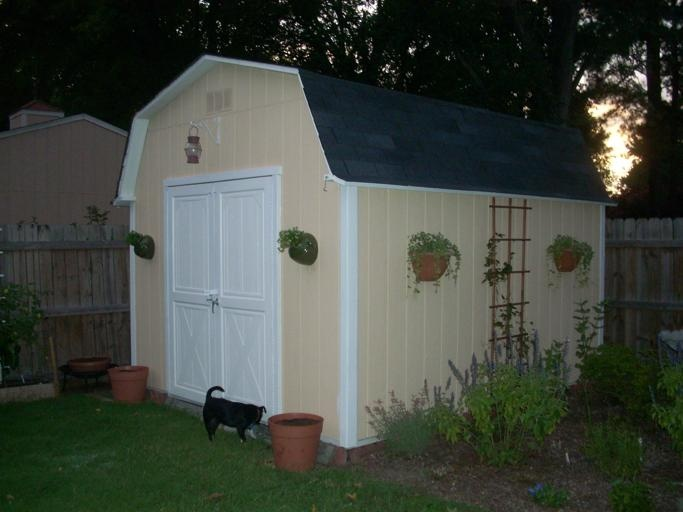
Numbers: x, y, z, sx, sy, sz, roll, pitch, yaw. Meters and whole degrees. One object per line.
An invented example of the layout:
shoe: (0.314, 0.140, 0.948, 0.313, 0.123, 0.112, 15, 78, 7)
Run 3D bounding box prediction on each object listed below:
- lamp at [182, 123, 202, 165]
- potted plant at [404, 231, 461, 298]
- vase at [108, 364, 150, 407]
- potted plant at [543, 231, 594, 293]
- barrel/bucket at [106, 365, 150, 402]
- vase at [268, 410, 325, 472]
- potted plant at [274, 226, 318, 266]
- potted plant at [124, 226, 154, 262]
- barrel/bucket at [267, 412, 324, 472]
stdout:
lamp: (-2.190, -1.648, 9.293, 0.235, 0.607, 0.505, -3, 8, -14)
potted plant: (1.196, 0.135, 8.146, 0.677, 0.801, 0.732, 3, -9, -14)
vase: (-3.366, 2.025, 10.040, 0.618, 0.594, 0.681, -2, 8, -28)
potted plant: (3.606, -0.063, 10.037, 0.504, 0.613, 0.483, -3, 22, 18)
barrel/bucket: (-3.335, 1.979, 9.861, 0.499, 0.470, 0.489, -1, -1, 0)
vase: (-0.537, 2.182, 7.522, 0.544, 0.522, 0.599, 1, -4, -10)
potted plant: (-0.524, -0.102, 7.833, 0.501, 0.507, 0.262, -3, 8, -9)
potted plant: (-3.243, -0.149, 10.091, 0.472, 0.477, 0.298, 3, 9, 31)
barrel/bucket: (-0.521, 2.194, 7.533, 0.541, 0.521, 0.603, 1, -4, -8)
